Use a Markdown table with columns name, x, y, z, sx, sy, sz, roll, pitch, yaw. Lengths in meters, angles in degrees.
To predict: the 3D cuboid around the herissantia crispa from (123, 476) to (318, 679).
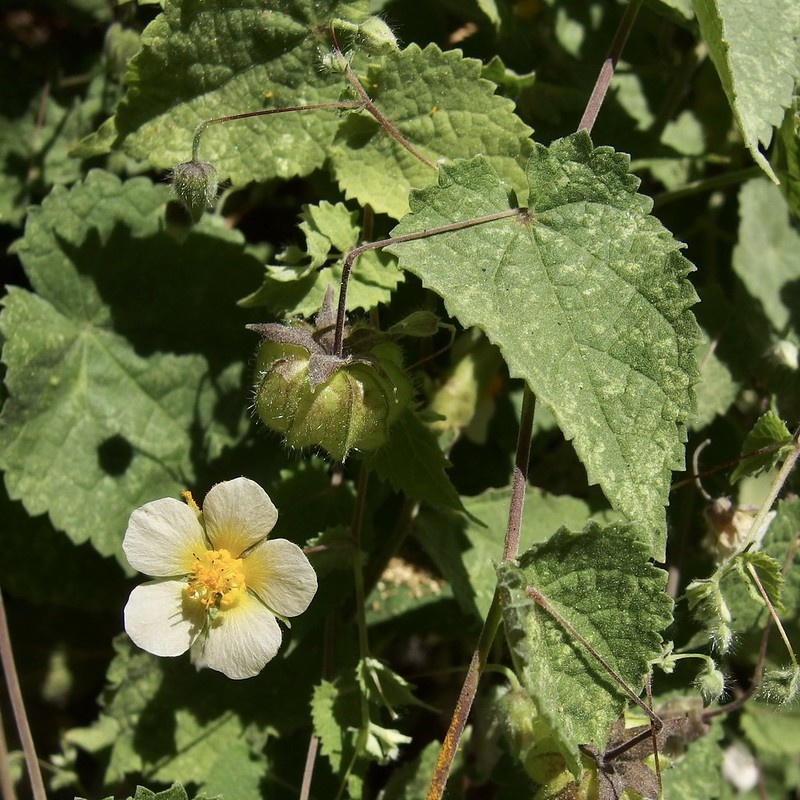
| name | x | y | z | sx | sy | sz | roll | pitch | yaw |
| --- | --- | --- | --- | --- | --- | --- | --- | --- | --- |
| herissantia crispa | -0.258 | 0.238 | 1.294 | 0.242 | 0.329 | 0.092 | 5 | 20 | -7 |

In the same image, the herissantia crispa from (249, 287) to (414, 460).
| name | x | y | z | sx | sy | sz | roll | pitch | yaw |
| --- | --- | --- | --- | --- | --- | --- | --- | --- | --- |
| herissantia crispa | -0.088 | -0.021 | 1.285 | 0.209 | 0.153 | 0.213 | 7 | 33 | 44 |
